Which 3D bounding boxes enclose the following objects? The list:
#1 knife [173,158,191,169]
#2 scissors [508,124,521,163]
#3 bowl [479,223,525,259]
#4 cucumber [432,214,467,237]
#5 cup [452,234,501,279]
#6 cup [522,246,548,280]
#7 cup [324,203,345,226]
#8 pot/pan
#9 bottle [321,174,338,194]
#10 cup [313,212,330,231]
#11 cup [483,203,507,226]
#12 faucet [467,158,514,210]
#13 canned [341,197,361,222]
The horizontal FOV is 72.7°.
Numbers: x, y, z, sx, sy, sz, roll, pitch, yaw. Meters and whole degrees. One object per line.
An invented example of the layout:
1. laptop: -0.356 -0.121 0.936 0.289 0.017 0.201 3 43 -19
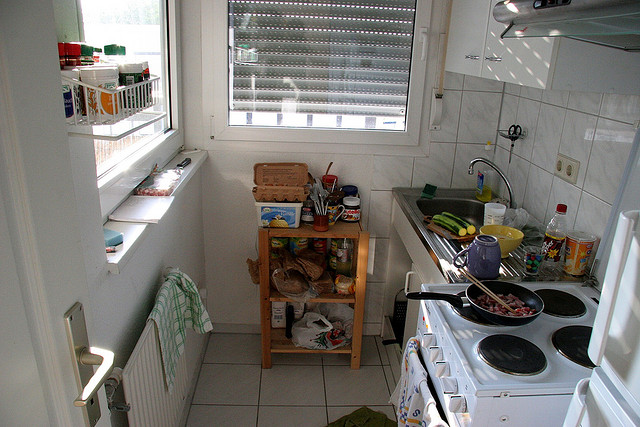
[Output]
1. knife: -0.800 -0.297 2.562 0.034 0.022 0.108 9 28 1
2. scissors: 1.159 -0.414 2.602 0.091 0.214 0.039 2 -5 18
3. bowl: 0.922 0.158 2.221 0.185 0.108 0.185 -1 29 1
4. cucumber: 0.679 0.059 2.327 0.060 0.065 0.194 -32 45 -24
5. cup: 0.689 0.182 1.994 0.235 0.172 0.149 -7 21 -2
6. cup: 1.012 0.229 2.075 0.130 0.140 0.130 -2 17 1
7. cup: 0.084 -0.005 2.754 0.140 0.137 0.091 -8 35 -11
8. pot/pan: 0.656 0.358 1.753 0.384 0.056 0.238 4 20 15
9. bottle: 0.057 -0.200 2.856 0.108 0.102 0.142 1 22 7
10. cup: 0.004 0.058 2.595 0.098 0.094 0.098 0 29 0
11. cup: 0.935 0.003 2.394 0.109 0.120 0.120 -2 26 1
12. faucet: 1.065 -0.181 2.705 0.315 0.424 0.102 0 40 5
13. canned: 0.167 -0.031 2.769 0.145 0.155 0.146 -1 29 -2
